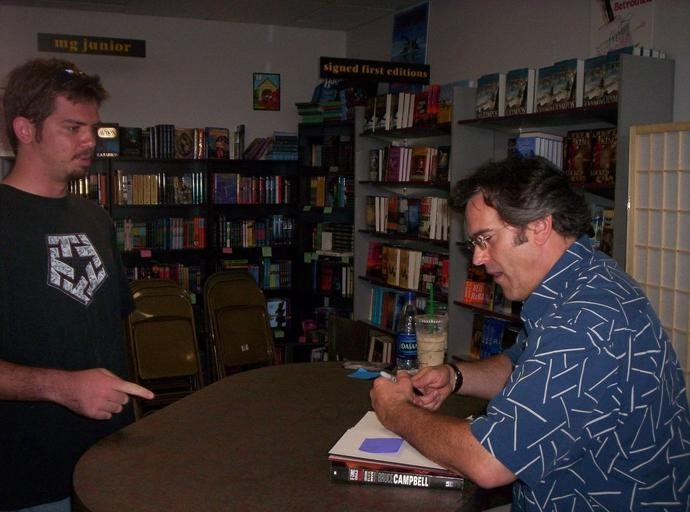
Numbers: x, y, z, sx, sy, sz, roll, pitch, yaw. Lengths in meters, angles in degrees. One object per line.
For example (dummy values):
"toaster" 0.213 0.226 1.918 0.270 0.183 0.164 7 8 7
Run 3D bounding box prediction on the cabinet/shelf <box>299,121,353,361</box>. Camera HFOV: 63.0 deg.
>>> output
"cabinet/shelf" -0.193 -0.153 5.479 0.560 2.254 0.857 -1 8 -6

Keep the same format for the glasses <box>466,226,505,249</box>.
"glasses" 0.389 -0.048 1.583 0.065 0.020 0.061 -15 -5 -21
